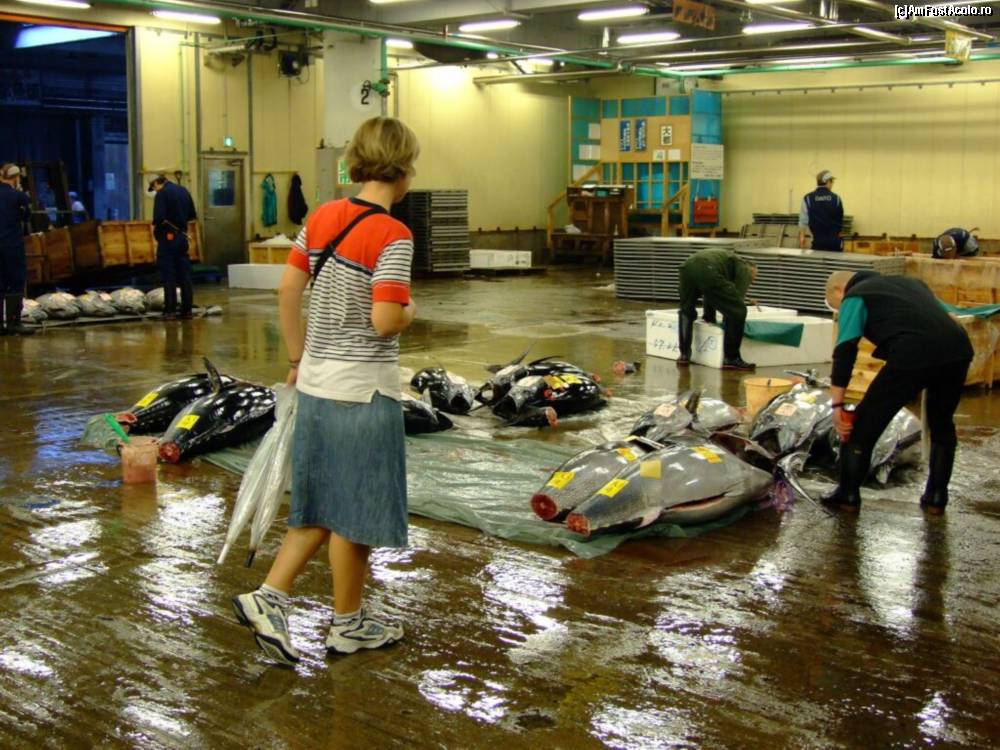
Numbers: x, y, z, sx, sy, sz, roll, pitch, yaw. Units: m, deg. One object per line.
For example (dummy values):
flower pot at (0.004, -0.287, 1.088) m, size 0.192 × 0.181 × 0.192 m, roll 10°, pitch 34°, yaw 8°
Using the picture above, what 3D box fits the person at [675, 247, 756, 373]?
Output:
person at (2.835, -0.876, 8.747) m, size 0.969 × 1.544 × 0.504 m, roll 3°, pitch 9°, yaw 16°

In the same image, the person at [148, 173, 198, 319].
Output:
person at (-6.009, -2.348, 12.238) m, size 0.615 × 2.492 × 0.514 m, roll -2°, pitch 9°, yaw -15°

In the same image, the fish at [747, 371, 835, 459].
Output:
fish at (2.256, 0.282, 5.026) m, size 0.722 × 0.204 × 0.608 m, roll -31°, pitch 34°, yaw -28°

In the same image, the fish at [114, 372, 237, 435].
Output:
fish at (-2.775, 0.234, 5.573) m, size 0.592 × 0.402 × 1.160 m, roll 8°, pitch 13°, yaw 31°

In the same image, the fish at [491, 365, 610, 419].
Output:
fish at (0.456, 0.165, 6.373) m, size 0.599 × 0.239 × 0.807 m, roll 3°, pitch 6°, yaw 39°

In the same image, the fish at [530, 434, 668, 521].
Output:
fish at (0.561, 0.579, 4.115) m, size 0.345 × 0.304 × 1.055 m, roll 26°, pitch 30°, yaw 28°

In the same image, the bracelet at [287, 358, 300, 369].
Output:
bracelet at (-0.815, -0.048, 2.625) m, size 0.054 × 0.028 × 0.056 m, roll 2°, pitch -3°, yaw -18°

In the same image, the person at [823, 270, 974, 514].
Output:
person at (2.454, 0.104, 4.154) m, size 0.849 × 1.496 × 0.493 m, roll 2°, pitch 9°, yaw 9°

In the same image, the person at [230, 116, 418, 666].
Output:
person at (-0.631, 0.071, 2.480) m, size 0.644 × 2.026 × 0.431 m, roll 0°, pitch 9°, yaw -1°

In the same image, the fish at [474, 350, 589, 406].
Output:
fish at (0.361, 0.053, 6.747) m, size 1.246 × 0.355 × 0.968 m, roll -10°, pitch 20°, yaw -29°

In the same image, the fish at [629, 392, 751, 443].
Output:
fish at (1.220, 0.308, 4.800) m, size 0.779 × 0.234 × 1.147 m, roll -2°, pitch 7°, yaw 28°

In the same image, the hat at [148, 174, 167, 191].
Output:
hat at (-6.226, -3.503, 12.112) m, size 0.226 × 0.335 × 0.688 m, roll -5°, pitch 9°, yaw -33°

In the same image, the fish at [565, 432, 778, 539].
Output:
fish at (1.112, 0.699, 4.094) m, size 1.740 × 0.445 × 0.513 m, roll -4°, pitch -1°, yaw -37°

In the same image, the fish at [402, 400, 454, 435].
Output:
fish at (-0.655, 0.368, 5.700) m, size 0.375 × 0.154 × 0.435 m, roll 5°, pitch 11°, yaw -12°

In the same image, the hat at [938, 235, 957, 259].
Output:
hat at (6.631, -1.904, 9.888) m, size 0.244 × 0.385 × 0.293 m, roll -2°, pitch 46°, yaw 27°

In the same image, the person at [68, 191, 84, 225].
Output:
person at (-10.998, -4.400, 17.306) m, size 0.333 × 0.972 × 2.123 m, roll -5°, pitch 9°, yaw -31°

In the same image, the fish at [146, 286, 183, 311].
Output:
fish at (-6.694, -1.501, 13.105) m, size 0.621 × 0.268 × 0.663 m, roll -1°, pitch 3°, yaw -2°

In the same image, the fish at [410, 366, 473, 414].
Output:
fish at (-0.656, 0.059, 6.698) m, size 0.585 × 0.187 × 0.356 m, roll -3°, pitch 11°, yaw 32°

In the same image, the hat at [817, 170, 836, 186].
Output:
hat at (5.989, -3.634, 12.283) m, size 0.233 × 0.290 × 0.654 m, roll 5°, pitch 9°, yaw 30°
